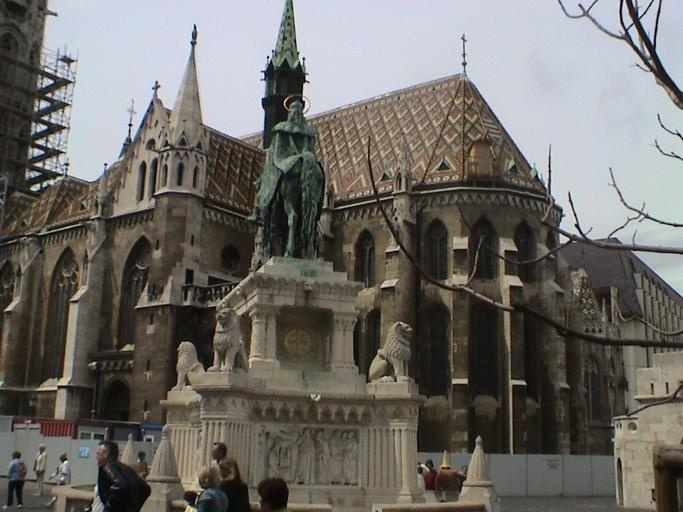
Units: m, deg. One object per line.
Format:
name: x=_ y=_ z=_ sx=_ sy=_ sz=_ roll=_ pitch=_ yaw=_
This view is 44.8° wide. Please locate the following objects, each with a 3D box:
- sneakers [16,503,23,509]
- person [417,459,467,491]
sneakers: x=-9.150 y=7.049 z=23.527 sx=0.094 sy=0.120 sz=0.268 roll=6 pitch=-34 yaw=-30
person: x=3.505 y=7.283 z=27.939 sx=1.308 sy=1.165 sz=2.184 roll=-3 pitch=-20 yaw=7
